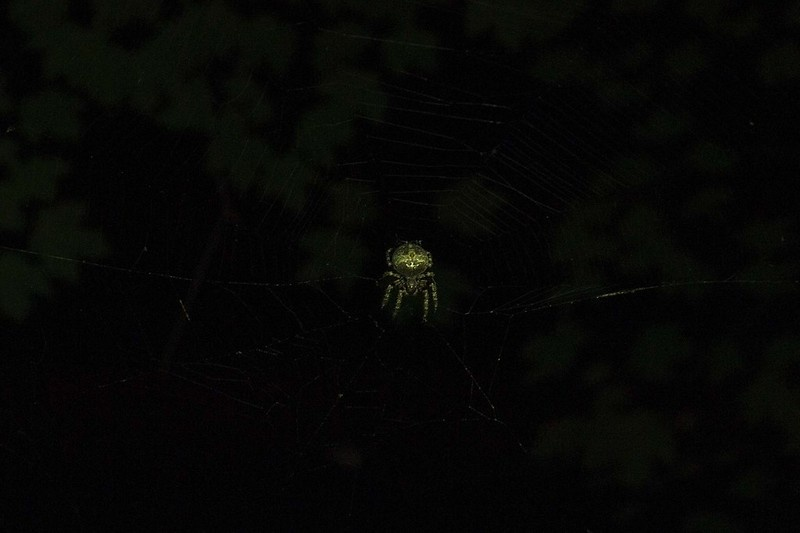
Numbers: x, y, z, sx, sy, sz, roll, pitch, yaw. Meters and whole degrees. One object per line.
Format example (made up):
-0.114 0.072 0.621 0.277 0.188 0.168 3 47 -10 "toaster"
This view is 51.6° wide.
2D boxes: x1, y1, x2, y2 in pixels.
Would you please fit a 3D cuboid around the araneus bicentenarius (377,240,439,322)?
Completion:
0.076 0.069 5.498 0.390 0.178 0.582 3 45 -4 "araneus bicentenarius"
